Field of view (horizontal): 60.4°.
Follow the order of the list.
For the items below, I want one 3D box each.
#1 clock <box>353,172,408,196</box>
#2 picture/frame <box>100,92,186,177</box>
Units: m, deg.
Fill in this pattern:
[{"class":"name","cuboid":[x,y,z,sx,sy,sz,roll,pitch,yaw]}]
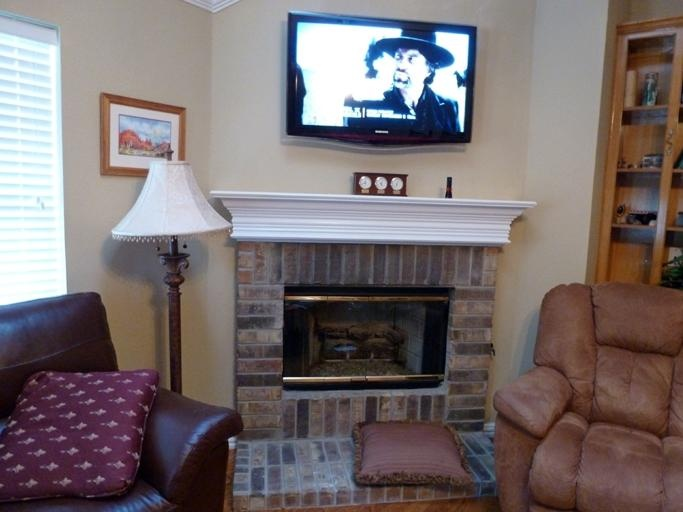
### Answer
[{"class":"clock","cuboid":[0.231,-0.434,3.507,0.331,0.132,0.251,2,9,0]},{"class":"picture/frame","cuboid":[-1.120,-0.674,3.238,0.532,0.512,0.039,-1,4,-37]}]
